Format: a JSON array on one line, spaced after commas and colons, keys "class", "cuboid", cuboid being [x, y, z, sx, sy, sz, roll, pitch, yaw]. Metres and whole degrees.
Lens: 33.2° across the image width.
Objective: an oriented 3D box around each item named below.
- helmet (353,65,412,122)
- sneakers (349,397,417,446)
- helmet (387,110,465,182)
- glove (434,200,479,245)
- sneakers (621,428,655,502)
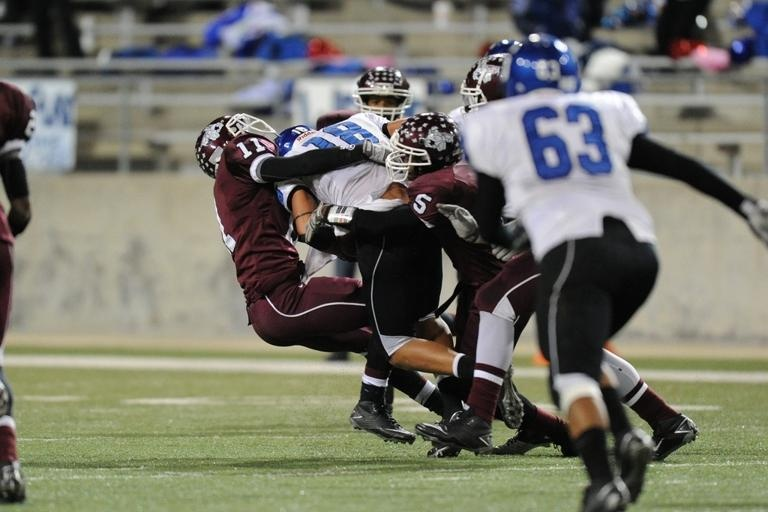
[{"class": "helmet", "cuboid": [-0.021, -1.222, 9.734, 0.409, 0.415, 0.507, 3, 16, -3]}, {"class": "sneakers", "cuboid": [-0.013, 1.150, 8.871, 0.507, 0.237, 0.173, 16, -5, 20]}, {"class": "helmet", "cuboid": [0.282, -0.761, 8.813, 0.577, 0.402, 0.450, -12, 23, -16]}, {"class": "glove", "cuboid": [0.508, -0.226, 8.221, 0.129, 0.116, 0.420, -24, -38, 13]}, {"class": "sneakers", "cuboid": [1.413, 1.185, 7.402, 0.156, 0.438, 0.190, 5, 0, -11]}]
